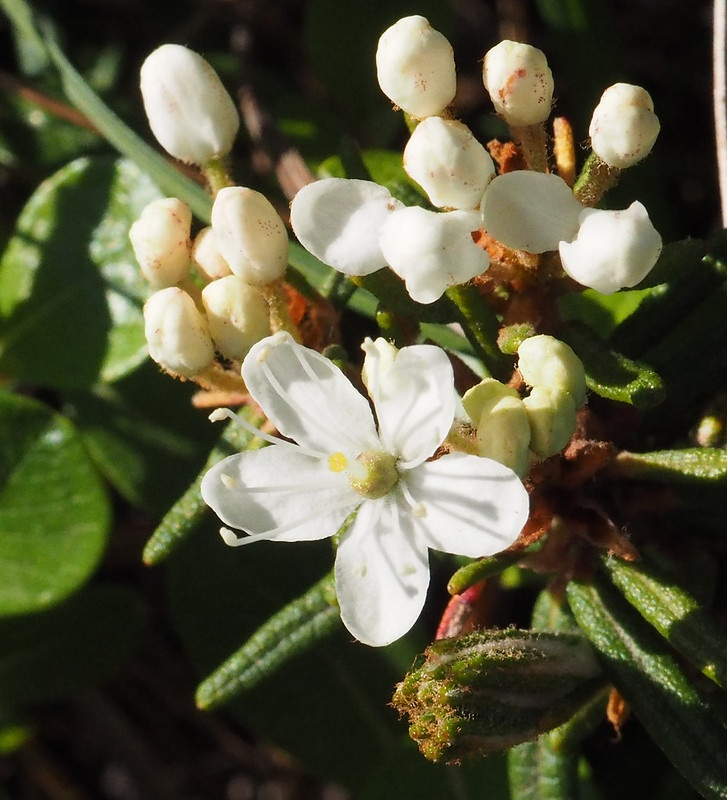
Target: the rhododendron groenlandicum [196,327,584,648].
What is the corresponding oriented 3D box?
[{"bbox_3d":[0.009,0.071,0.926,0.285,0.137,0.297,-9,76,32],"label":"rhododendron groenlandicum"}]
